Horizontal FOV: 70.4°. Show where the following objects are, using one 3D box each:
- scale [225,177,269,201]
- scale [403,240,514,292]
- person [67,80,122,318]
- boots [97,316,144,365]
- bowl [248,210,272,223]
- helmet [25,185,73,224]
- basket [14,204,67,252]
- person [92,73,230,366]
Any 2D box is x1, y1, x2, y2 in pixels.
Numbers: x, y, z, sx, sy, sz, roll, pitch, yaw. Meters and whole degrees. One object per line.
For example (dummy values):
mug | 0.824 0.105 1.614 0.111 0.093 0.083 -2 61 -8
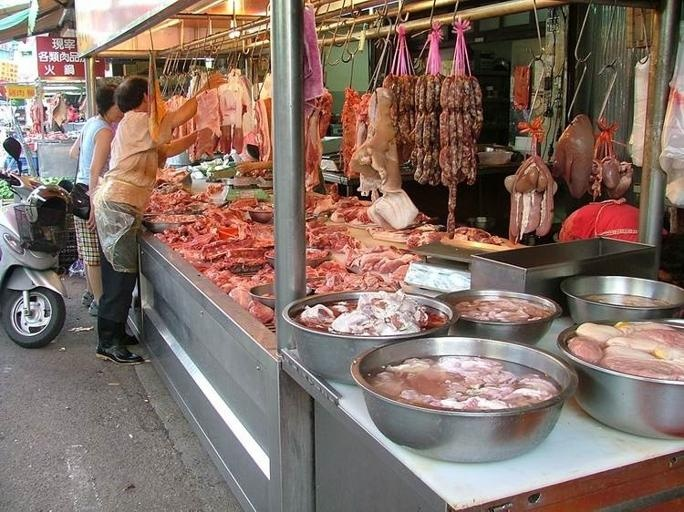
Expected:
scale | -1.030 -0.734 5.286 0.477 0.194 0.615 -1 15 -7
scale | 0.601 0.051 2.382 0.546 0.232 0.479 6 16 19
person | -2.452 -0.567 5.018 0.733 2.250 0.651 9 13 37
boots | -2.012 0.747 4.445 0.371 0.455 0.383 -3 19 -21
bowl | -0.738 -0.355 4.308 0.275 0.109 0.096 11 18 33
helmet | -2.658 -0.465 4.538 0.370 0.383 0.308 21 5 -6
basket | -2.833 -0.334 4.587 0.423 0.502 0.365 -7 13 -29
person | -1.729 -0.457 4.519 1.066 2.555 1.115 -11 20 -37
